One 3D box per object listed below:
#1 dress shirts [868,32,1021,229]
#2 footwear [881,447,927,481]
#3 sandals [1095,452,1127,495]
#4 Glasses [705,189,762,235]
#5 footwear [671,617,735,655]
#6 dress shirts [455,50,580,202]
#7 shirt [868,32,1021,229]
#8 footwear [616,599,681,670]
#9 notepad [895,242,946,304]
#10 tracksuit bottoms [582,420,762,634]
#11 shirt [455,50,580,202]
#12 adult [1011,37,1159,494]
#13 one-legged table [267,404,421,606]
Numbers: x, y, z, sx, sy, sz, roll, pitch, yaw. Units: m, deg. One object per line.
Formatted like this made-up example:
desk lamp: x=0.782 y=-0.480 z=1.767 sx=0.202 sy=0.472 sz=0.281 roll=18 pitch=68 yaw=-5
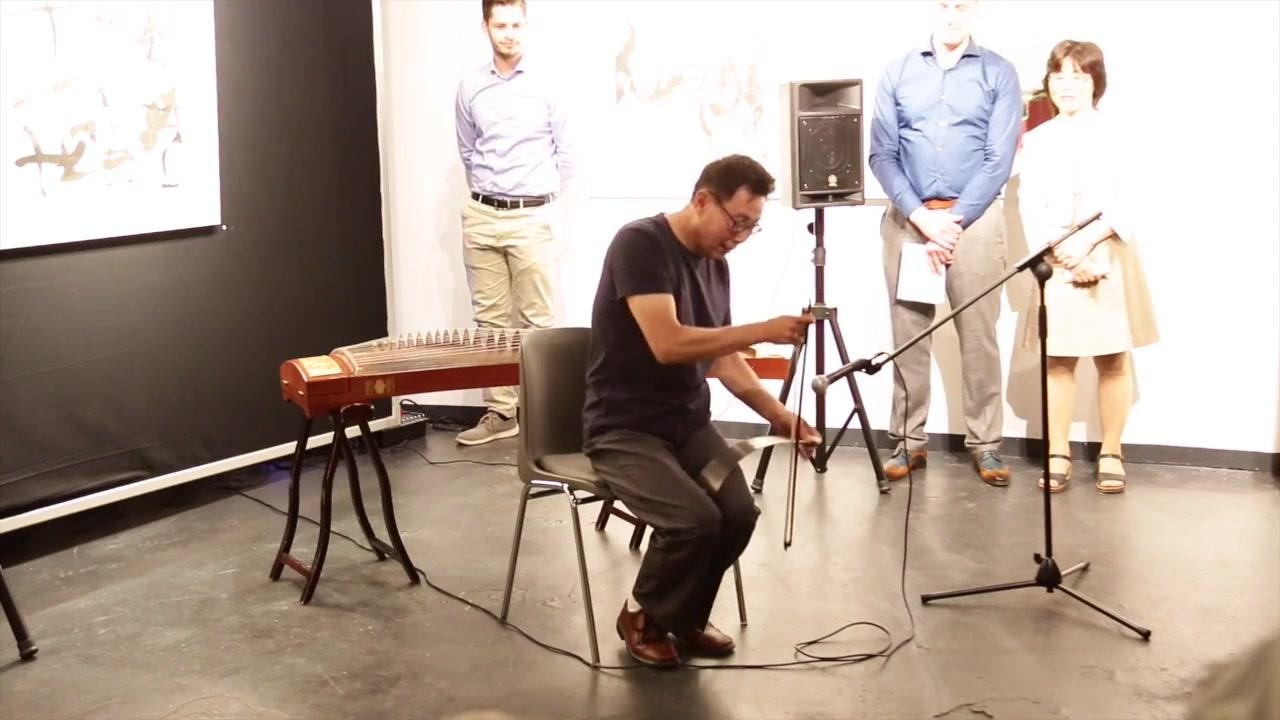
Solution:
dress shirts: x=1.936 y=-1.423 z=5.869 sx=0.901 sy=1.154 sz=0.404 roll=4 pitch=14 yaw=16
footwear: x=1.738 y=0.677 z=6.035 sx=0.155 sy=0.137 sz=0.417 roll=-7 pitch=-5 yaw=37
sandals: x=2.942 y=0.713 z=5.740 sx=0.133 sy=0.093 sz=0.368 roll=-6 pitch=12 yaw=22
Glasses: x=0.396 y=-0.652 z=4.153 sx=0.069 sy=0.203 sz=0.222 roll=-30 pitch=-14 yaw=32
footwear: x=0.298 y=1.301 z=4.313 sx=0.299 sy=0.116 sz=0.125 roll=-3 pitch=-2 yaw=8
dress shirts: x=-0.859 y=-1.668 z=6.596 sx=1.240 sy=1.053 sz=0.631 roll=1 pitch=13 yaw=5
shirt: x=1.936 y=-1.423 z=5.869 sx=0.901 sy=1.154 sz=0.404 roll=4 pitch=14 yaw=16
footwear: x=0.027 y=1.266 z=4.273 sx=0.166 sy=0.158 sz=0.367 roll=-11 pitch=16 yaw=-38
notepad: x=1.804 y=-0.543 z=5.875 sx=0.293 sy=0.399 sz=0.207 roll=6 pitch=14 yaw=21
tracksuit bottoms: x=0.145 y=0.791 z=4.210 sx=0.741 sy=0.904 sz=0.368 roll=0 pitch=14 yaw=-4
shirt: x=-0.859 y=-1.668 z=6.596 sx=1.240 sy=1.053 sz=0.631 roll=1 pitch=13 yaw=5
adult: x=2.758 y=-0.576 z=5.713 sx=0.916 sy=2.724 sz=0.724 roll=8 pitch=15 yaw=26
one-legged table: x=-1.595 y=0.678 z=5.360 sx=1.101 sy=1.282 sz=0.934 roll=1 pitch=3 yaw=-12
